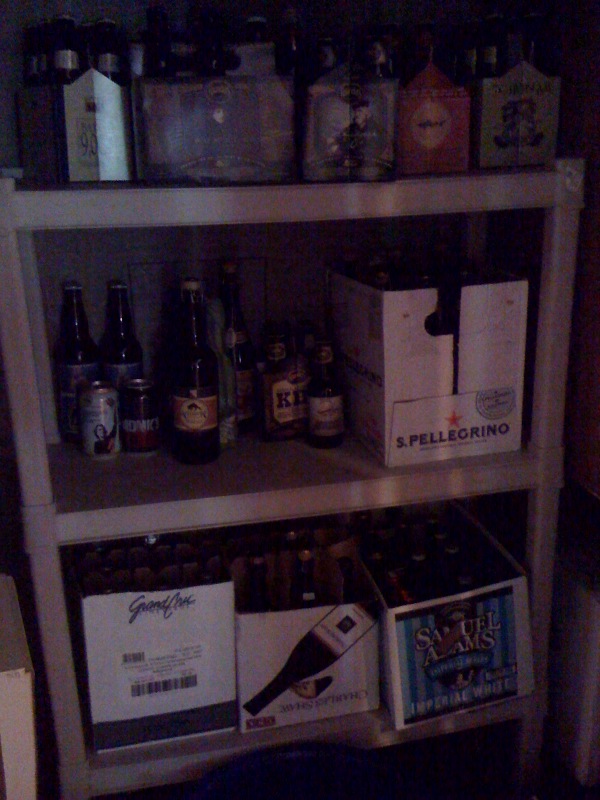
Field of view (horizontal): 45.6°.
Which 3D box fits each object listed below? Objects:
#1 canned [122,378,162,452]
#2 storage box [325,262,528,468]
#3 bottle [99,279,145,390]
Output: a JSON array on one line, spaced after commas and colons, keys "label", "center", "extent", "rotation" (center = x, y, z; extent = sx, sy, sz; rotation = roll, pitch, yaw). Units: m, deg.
[{"label": "canned", "center": [-0.260, 0.026, 1.163], "extent": [0.051, 0.115, 0.059], "rotation": [-10, 26, -23]}, {"label": "storage box", "center": [0.212, -0.049, 1.231], "extent": [0.226, 0.301, 0.365], "rotation": [-5, 23, -9]}, {"label": "bottle", "center": [-0.322, -0.119, 1.281], "extent": [0.069, 0.290, 0.073], "rotation": [2, 21, -1]}]
